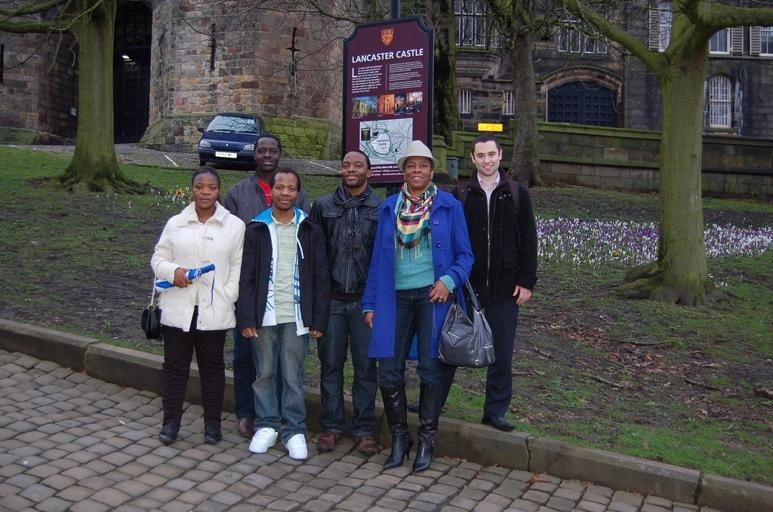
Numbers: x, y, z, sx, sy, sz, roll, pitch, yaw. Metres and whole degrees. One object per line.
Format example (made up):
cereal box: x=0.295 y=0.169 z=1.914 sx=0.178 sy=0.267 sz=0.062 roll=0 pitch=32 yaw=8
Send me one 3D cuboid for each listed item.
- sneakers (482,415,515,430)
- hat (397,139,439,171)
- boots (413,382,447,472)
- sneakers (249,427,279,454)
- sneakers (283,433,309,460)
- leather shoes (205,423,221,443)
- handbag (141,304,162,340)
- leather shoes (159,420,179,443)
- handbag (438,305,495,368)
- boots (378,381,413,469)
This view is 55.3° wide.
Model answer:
sneakers: x=1.248 y=1.872 z=8.172 sx=0.323 sy=0.134 sz=0.133 roll=3 pitch=7 yaw=26
hat: x=0.364 y=-1.166 z=8.331 sx=0.362 sy=0.194 sz=0.389 roll=3 pitch=-27 yaw=0
boots: x=0.454 y=1.864 z=7.979 sx=0.268 sy=0.924 sz=0.353 roll=3 pitch=6 yaw=11
sneakers: x=-1.340 y=2.062 z=8.181 sx=0.160 sy=0.156 sz=0.386 roll=20 pitch=4 yaw=8
sneakers: x=-0.965 y=2.112 z=8.151 sx=0.262 sy=0.256 sz=0.248 roll=1 pitch=6 yaw=-6
leather shoes: x=-1.915 y=2.002 z=8.285 sx=0.190 sy=0.204 sz=0.127 roll=0 pitch=6 yaw=-12
handbag: x=-2.677 y=0.720 z=8.285 sx=0.188 sy=0.407 sz=0.349 roll=20 pitch=-10 yaw=-21
leather shoes: x=-2.359 y=1.977 z=8.230 sx=0.143 sy=0.232 sz=0.272 roll=7 pitch=8 yaw=37
handbag: x=0.877 y=0.858 z=7.917 sx=0.583 sy=0.626 sz=0.360 roll=3 pitch=6 yaw=8
boots: x=0.149 y=1.863 z=8.089 sx=0.400 sy=0.884 sz=0.327 roll=-1 pitch=7 yaw=-20
